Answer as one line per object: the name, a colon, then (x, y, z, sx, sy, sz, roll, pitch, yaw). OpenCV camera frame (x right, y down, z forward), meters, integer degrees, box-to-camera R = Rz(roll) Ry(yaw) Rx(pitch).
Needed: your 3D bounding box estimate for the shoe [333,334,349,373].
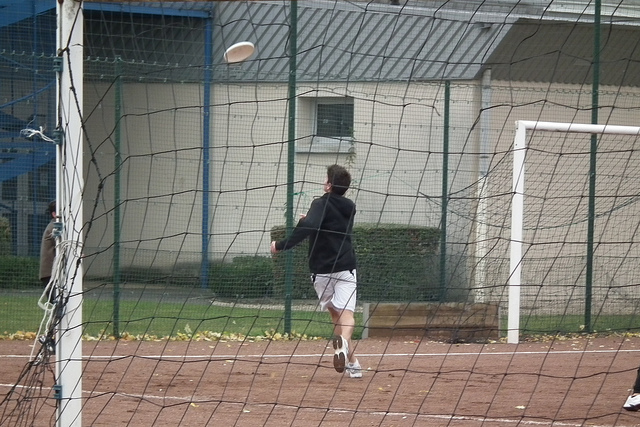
shoe: (0.274, 2.110, 24.322, 0.218, 0.538, 0.254, -4, -6, 17)

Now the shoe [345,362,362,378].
shoe: (0.480, 2.410, 24.637, 0.277, 0.312, 0.748, 0, 0, 5)

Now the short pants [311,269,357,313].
short pants: (0.179, 1.187, 24.666, 0.681, 0.692, 0.458, 2, 4, -1)

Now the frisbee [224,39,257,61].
frisbee: (-1.260, -2.476, 23.968, 0.507, 0.290, 0.236, -2, 6, -44)
